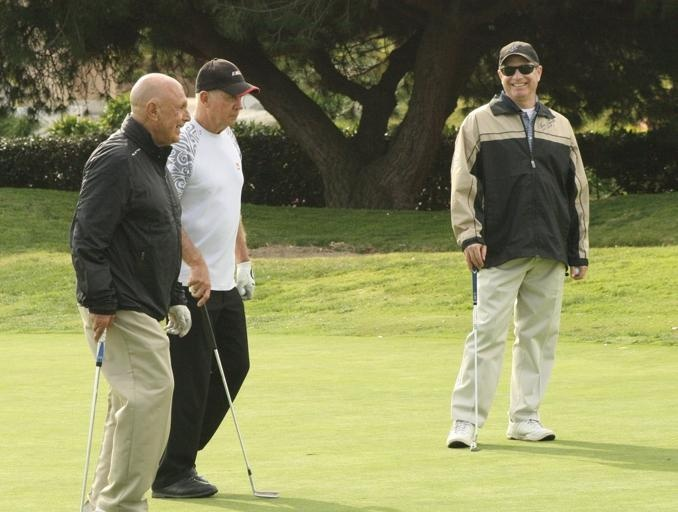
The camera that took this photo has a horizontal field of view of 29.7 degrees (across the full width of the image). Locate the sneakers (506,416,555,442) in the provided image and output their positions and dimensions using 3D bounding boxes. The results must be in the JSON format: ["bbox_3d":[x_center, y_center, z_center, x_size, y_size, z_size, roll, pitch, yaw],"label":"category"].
[{"bbox_3d":[1.488,1.379,10.119,0.381,0.144,0.149,-4,-5,28],"label":"sneakers"}]

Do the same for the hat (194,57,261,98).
[{"bbox_3d":[-0.842,-1.340,9.541,0.506,0.253,0.313,7,18,27],"label":"hat"}]

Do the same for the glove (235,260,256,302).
[{"bbox_3d":[-0.708,0.206,9.961,0.097,0.210,0.250,24,-2,8],"label":"glove"}]

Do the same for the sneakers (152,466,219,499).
[{"bbox_3d":[-1.106,1.659,9.320,0.532,0.217,0.186,-3,-7,18],"label":"sneakers"}]
